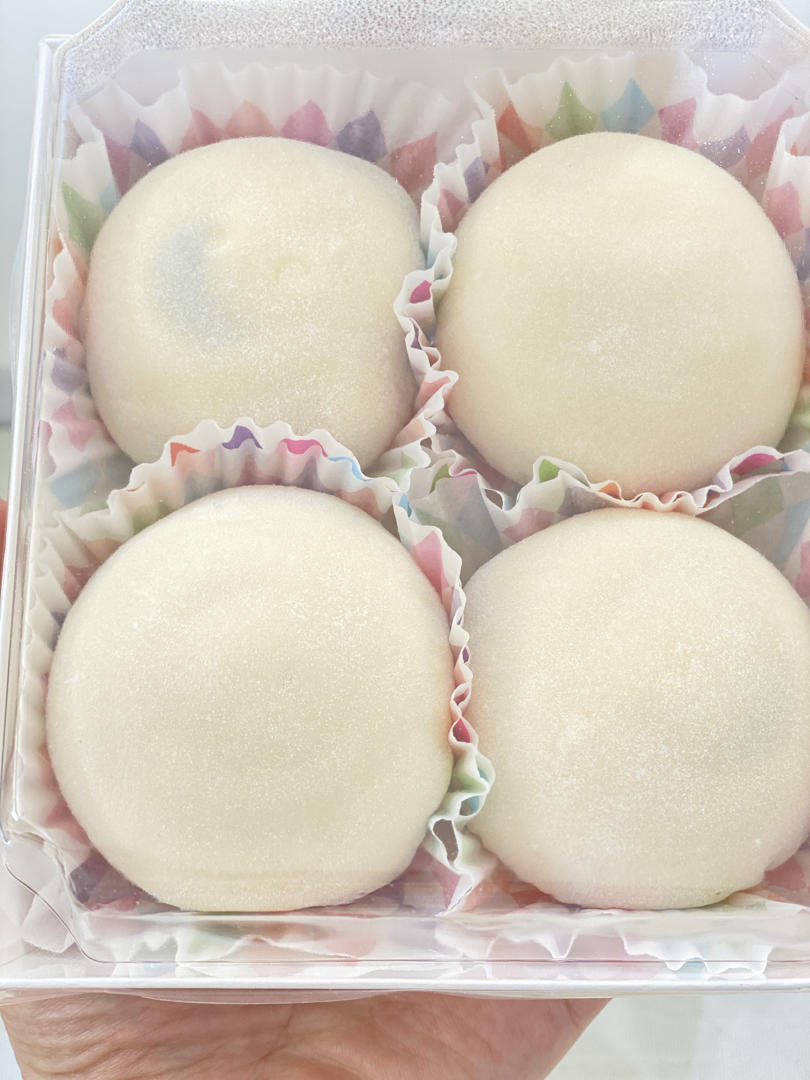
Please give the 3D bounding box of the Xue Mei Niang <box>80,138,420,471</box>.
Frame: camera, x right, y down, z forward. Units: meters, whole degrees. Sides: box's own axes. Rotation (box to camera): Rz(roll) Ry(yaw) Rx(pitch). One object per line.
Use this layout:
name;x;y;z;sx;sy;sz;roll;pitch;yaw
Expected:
Xue Mei Niang;-0.116;-0.187;0.907;0.261;0.144;0.248;-3;62;1

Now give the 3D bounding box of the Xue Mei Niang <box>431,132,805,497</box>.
Xue Mei Niang;0.159;-0.172;0.895;0.269;0.142;0.268;-3;62;1

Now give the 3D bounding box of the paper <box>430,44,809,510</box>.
paper;0.161;-0.169;0.852;0.290;0.145;0.260;-4;85;4
